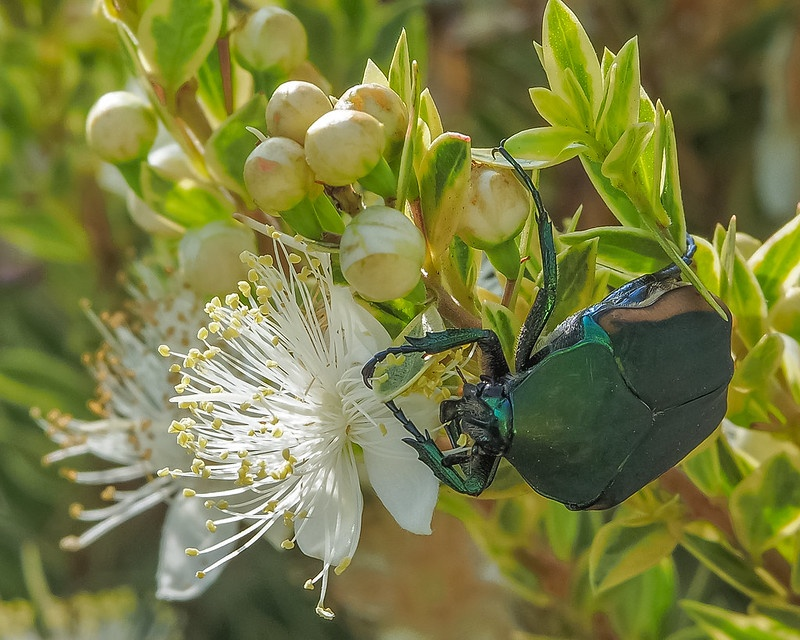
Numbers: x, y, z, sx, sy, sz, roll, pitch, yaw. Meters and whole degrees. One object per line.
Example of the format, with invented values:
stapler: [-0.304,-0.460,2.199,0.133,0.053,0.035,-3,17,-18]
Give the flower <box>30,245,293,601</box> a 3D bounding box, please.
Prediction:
flower: [-0.261,0.129,1.188,0.335,0.397,0.128,37,63,-7]

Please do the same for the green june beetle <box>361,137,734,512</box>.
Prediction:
green june beetle: [0.132,0.050,0.832,0.316,0.353,0.107,-3,31,-6]

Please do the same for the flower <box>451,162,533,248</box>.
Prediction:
flower: [0.074,-0.095,0.875,0.063,0.056,0.049,45,45,15]

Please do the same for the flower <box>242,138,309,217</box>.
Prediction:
flower: [-0.101,-0.114,0.830,0.051,0.054,0.063,9,92,-1]

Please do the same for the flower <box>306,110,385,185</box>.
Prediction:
flower: [-0.043,-0.130,0.795,0.058,0.047,0.047,-22,82,-15]
